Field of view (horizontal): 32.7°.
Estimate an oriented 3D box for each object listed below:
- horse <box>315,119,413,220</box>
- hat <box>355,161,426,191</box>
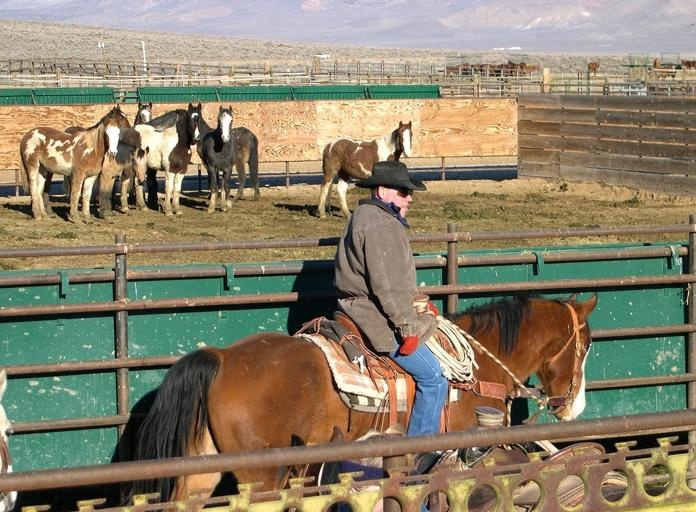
[{"bbox_3d":[0.333,-1.685,23.570,2.246,1.930,0.604,3,2,31],"label":"horse"},{"bbox_3d":[0.491,-0.818,12.258,0.446,0.197,0.385,2,0,-2],"label":"hat"}]
